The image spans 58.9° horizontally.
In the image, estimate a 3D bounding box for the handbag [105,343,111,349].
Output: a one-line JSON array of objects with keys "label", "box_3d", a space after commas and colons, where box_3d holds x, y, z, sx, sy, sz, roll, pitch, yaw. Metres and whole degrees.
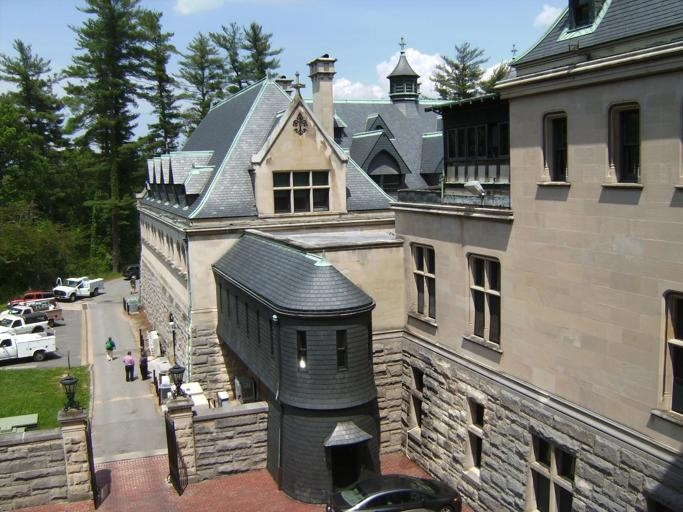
[{"label": "handbag", "box_3d": [-16.126, 6.147, 41.610, 0.276, 0.382, 0.405, 1, -28, 1]}]

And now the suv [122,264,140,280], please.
[{"label": "suv", "box_3d": [-27.115, 2.103, 78.014, 1.615, 1.808, 3.393, -6, 6, -32]}]

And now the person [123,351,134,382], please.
[{"label": "person", "box_3d": [-13.290, 6.856, 37.655, 0.517, 1.553, 2.273, -4, 6, -20]}]

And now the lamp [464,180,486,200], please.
[{"label": "lamp", "box_3d": [4.824, -2.337, 21.671, 0.725, 0.634, 0.829, -2, 6, 11]}]
